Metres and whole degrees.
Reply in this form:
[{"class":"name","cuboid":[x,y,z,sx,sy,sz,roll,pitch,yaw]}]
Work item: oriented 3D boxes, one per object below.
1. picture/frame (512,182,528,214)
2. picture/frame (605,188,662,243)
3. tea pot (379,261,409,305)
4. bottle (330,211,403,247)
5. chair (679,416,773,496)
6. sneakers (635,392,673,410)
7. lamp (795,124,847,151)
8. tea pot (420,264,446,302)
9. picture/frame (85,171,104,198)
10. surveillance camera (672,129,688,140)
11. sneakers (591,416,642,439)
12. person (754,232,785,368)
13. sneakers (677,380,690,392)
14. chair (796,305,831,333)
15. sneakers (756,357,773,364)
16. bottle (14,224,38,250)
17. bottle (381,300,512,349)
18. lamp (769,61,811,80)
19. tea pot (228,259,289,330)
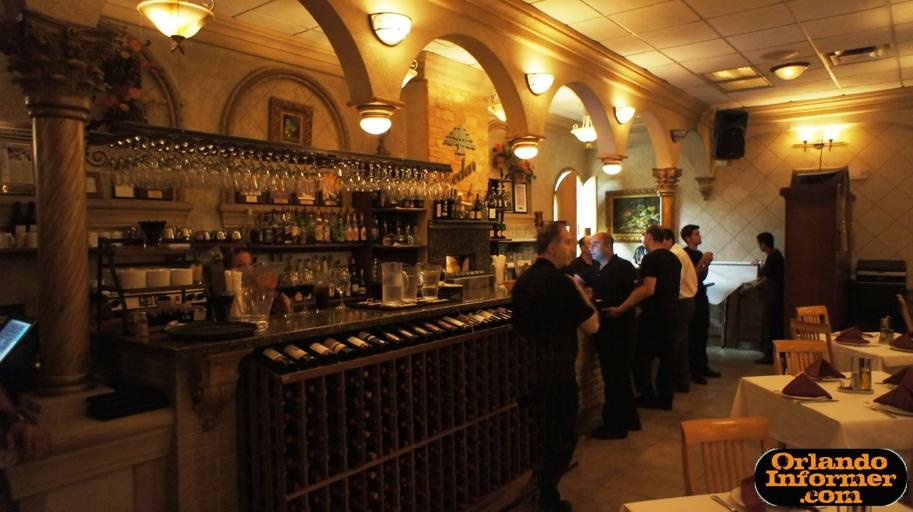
[{"class":"picture/frame","cuboid":[1.262,-1.174,12.666,0.051,0.651,0.734,-2,-2,31]},{"class":"picture/frame","cuboid":[4.154,-0.933,14.704,1.623,1.203,0.094,-4,8,-21]},{"class":"tea pot","cuboid":[-0.656,0.301,6.770,0.291,0.302,0.291,-2,1,0]},{"class":"bottle","cuboid":[-1.390,-0.423,9.356,0.955,0.346,0.327,-2,1,-23]},{"class":"chair","cuboid":[2.183,1.685,5.417,0.661,0.788,0.721,-1,-10,5]},{"class":"sneakers","cuboid":[2.659,1.950,8.495,0.545,0.192,0.186,3,0,36]},{"class":"lamp","cuboid":[7.294,-2.347,12.609,0.888,0.483,0.159,-1,1,20]},{"class":"tea pot","cuboid":[-0.257,0.312,7.115,0.432,0.370,0.265,11,-2,-10]},{"class":"picture/frame","cuboid":[-4.420,-0.870,7.674,0.176,0.290,0.122,-2,1,-28]},{"class":"surveillance camera","cuboid":[4.272,-2.312,12.015,0.161,0.273,0.498,-1,1,37]},{"class":"sneakers","cuboid":[2.027,2.110,7.737,0.735,0.245,0.228,0,-4,8]},{"class":"person","cuboid":[5.487,0.677,10.943,0.405,2.180,1.388,-1,1,25]},{"class":"sneakers","cuboid":[3.254,1.877,9.009,0.232,0.189,0.160,-1,-8,5]},{"class":"chair","cuboid":[4.579,0.811,8.062,0.357,0.523,0.431,-8,-14,37]},{"class":"sneakers","cuboid":[5.148,1.744,10.494,0.251,0.085,0.358,-1,1,20]},{"class":"bottle","cuboid":[-4.936,-0.213,7.174,0.188,0.267,0.165,-2,1,-38]},{"class":"bottle","cuboid":[-0.139,0.729,6.540,1.864,0.307,0.233,-8,46,-32]},{"class":"lamp","cuboid":[5.475,-3.064,10.328,0.544,0.216,0.465,-1,1,27]},{"class":"tea pot","cuboid":[-1.932,0.390,6.379,0.642,0.655,0.666,-1,-9,0]}]
